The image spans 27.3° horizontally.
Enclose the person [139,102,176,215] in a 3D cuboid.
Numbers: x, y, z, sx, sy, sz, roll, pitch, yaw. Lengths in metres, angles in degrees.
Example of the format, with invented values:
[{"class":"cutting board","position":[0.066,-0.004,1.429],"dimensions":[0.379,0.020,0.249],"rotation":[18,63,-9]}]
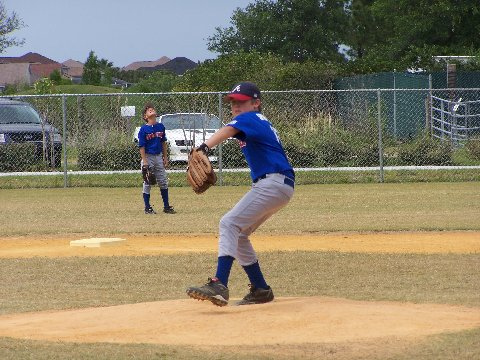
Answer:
[{"class":"person","position":[-2.030,-0.488,23.753],"dimensions":[0.773,2.686,0.748],"rotation":[-5,13,-18]}]

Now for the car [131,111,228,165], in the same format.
[{"class":"car","position":[-1.441,-1.325,29.819],"dimensions":[1.689,1.034,2.901],"rotation":[-4,2,-24]}]

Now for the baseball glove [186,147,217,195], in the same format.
[{"class":"baseball glove","position":[-0.667,-0.154,16.864],"dimensions":[0.329,0.741,0.518],"rotation":[0,-31,-46]}]

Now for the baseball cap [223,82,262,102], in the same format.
[{"class":"baseball cap","position":[0.046,-1.524,17.048],"dimensions":[0.457,0.249,0.340],"rotation":[-2,4,-16]}]

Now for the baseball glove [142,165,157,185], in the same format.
[{"class":"baseball glove","position":[-2.166,-0.112,23.646],"dimensions":[0.329,0.451,0.188],"rotation":[-12,-1,11]}]
